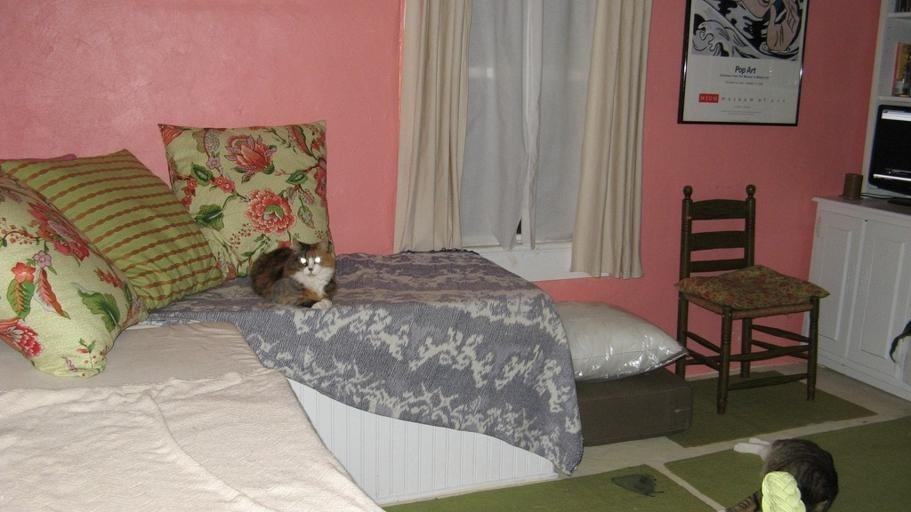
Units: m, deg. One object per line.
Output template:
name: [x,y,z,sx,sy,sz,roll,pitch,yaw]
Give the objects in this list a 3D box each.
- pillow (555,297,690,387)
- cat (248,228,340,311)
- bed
pillow: [0.959,0.496,4.371,0.551,0.180,0.586,-1,11,-12]
cat: [-0.844,0.073,3.842,0.302,0.242,0.467,-14,19,-38]
bed: [-0.494,0.645,3.916,2.164,0.559,1.219,-4,38,-9]
